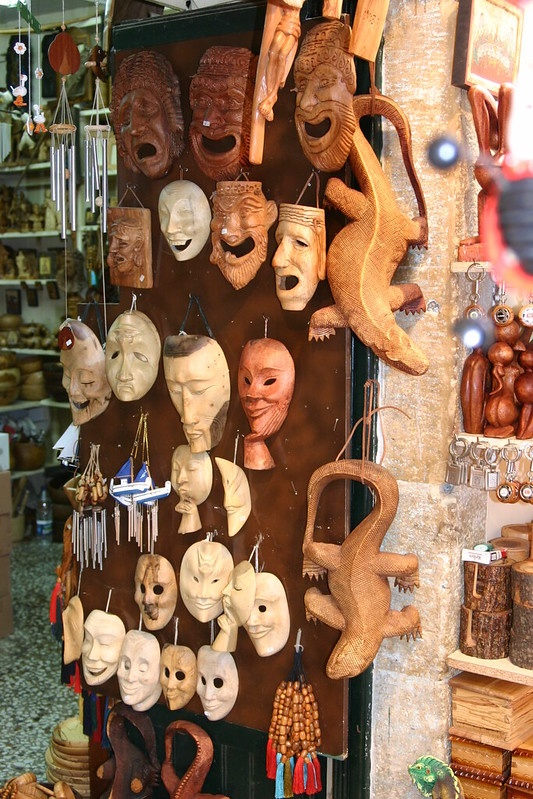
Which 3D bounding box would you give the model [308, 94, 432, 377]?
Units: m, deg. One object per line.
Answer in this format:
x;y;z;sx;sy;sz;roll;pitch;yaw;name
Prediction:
0.203;-0.299;1.527;0.225;0.500;0.163;4;14;6;model

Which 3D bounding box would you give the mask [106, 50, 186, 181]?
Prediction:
-0.283;-0.666;1.876;0.199;0.286;0.098;5;3;38;mask

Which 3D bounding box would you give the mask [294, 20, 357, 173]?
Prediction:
0.114;-0.582;1.535;0.073;0.273;0.133;1;4;-41;mask

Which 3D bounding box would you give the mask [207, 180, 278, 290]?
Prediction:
-0.063;-0.355;1.757;0.106;0.224;0.186;2;3;-30;mask

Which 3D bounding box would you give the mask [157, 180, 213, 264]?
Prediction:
-0.192;-0.414;1.859;0.145;0.179;0.076;5;3;38;mask

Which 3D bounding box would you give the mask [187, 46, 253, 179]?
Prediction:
-0.092;-0.613;1.723;0.152;0.267;0.088;4;3;11;mask

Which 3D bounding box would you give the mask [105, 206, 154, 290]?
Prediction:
-0.336;-0.368;1.964;0.126;0.186;0.091;4;3;19;mask

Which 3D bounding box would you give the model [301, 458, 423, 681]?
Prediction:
0.192;0.338;1.641;0.266;0.434;0.110;0;6;28;model
